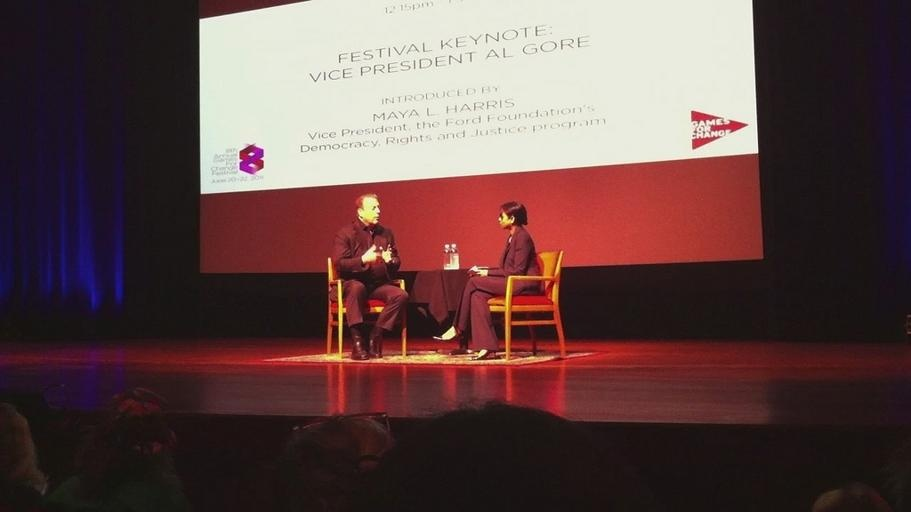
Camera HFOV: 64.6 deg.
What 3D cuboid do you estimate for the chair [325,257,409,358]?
[{"bbox_3d":[-0.949,0.509,7.649,0.769,1.204,0.796,-3,-6,-12],"label":"chair"}]

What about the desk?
[{"bbox_3d":[-0.035,0.532,7.435,0.761,0.627,0.794,0,-1,6],"label":"desk"}]

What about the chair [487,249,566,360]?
[{"bbox_3d":[0.681,0.477,7.365,0.884,1.080,0.902,1,-1,33],"label":"chair"}]
